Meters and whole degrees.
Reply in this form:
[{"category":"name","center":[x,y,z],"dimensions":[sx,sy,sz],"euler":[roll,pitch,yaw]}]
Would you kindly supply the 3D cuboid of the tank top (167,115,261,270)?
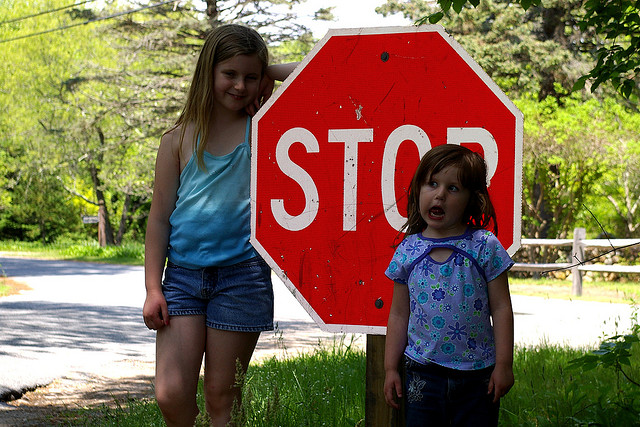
[{"category":"tank top","center":[-0.860,-0.165,5.725],"dimensions":[0.737,1.261,0.196],"euler":[2,-4,-11]}]
